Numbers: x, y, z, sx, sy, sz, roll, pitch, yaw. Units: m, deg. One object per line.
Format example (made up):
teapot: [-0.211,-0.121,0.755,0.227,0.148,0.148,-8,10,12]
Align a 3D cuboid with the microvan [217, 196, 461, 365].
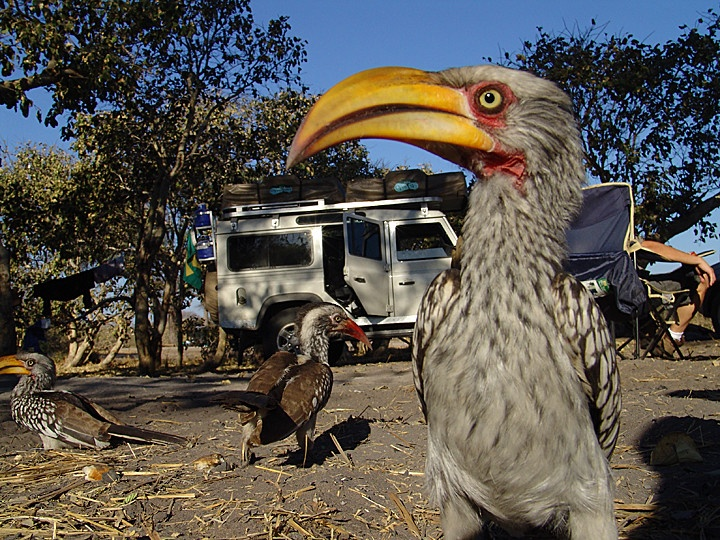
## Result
microvan: [0.021,0.184,13.566,4.949,2.882,3.887,-4,1,3]
